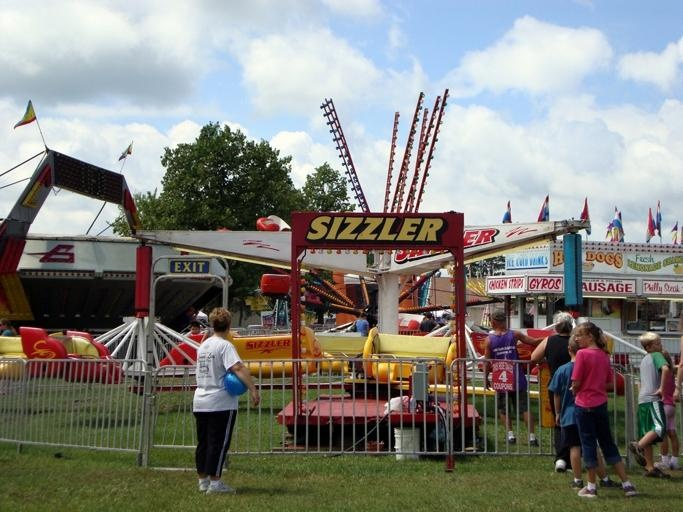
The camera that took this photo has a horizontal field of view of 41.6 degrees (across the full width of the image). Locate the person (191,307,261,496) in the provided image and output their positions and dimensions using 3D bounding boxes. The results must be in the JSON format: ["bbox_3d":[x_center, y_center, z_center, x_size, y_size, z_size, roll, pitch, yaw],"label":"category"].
[{"bbox_3d":[-1.518,1.811,11.512,0.732,2.345,0.824,4,-9,-9],"label":"person"}]

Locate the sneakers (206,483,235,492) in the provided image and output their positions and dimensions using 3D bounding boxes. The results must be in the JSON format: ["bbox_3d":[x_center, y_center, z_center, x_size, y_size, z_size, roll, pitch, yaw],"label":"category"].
[{"bbox_3d":[-1.518,2.908,11.373,0.355,0.151,0.128,3,-3,-6],"label":"sneakers"}]

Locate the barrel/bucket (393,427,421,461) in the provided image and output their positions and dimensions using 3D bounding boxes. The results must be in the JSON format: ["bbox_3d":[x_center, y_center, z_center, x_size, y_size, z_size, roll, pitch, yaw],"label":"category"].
[{"bbox_3d":[0.958,2.750,13.232,0.432,0.407,0.440,0,-9,0],"label":"barrel/bucket"}]

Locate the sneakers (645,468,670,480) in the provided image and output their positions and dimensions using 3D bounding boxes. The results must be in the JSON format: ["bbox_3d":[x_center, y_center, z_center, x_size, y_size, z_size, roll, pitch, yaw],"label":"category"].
[{"bbox_3d":[4.253,2.918,12.110,0.345,0.153,0.118,1,-6,-1],"label":"sneakers"}]

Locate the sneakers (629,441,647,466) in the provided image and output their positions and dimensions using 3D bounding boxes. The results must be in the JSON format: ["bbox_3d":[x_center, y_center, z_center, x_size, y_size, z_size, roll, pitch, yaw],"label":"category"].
[{"bbox_3d":[4.054,2.692,12.350,0.160,0.361,0.131,-44,14,-35],"label":"sneakers"}]

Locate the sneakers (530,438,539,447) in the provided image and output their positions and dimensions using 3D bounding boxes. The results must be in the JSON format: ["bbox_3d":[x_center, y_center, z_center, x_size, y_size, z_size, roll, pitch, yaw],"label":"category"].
[{"bbox_3d":[2.927,2.794,13.651,0.133,0.137,0.211,1,-4,24],"label":"sneakers"}]

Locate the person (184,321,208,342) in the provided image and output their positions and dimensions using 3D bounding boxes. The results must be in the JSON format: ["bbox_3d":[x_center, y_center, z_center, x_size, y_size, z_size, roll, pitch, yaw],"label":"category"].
[{"bbox_3d":[-3.635,1.912,22.682,0.624,0.525,0.878,0,-2,-3],"label":"person"}]
